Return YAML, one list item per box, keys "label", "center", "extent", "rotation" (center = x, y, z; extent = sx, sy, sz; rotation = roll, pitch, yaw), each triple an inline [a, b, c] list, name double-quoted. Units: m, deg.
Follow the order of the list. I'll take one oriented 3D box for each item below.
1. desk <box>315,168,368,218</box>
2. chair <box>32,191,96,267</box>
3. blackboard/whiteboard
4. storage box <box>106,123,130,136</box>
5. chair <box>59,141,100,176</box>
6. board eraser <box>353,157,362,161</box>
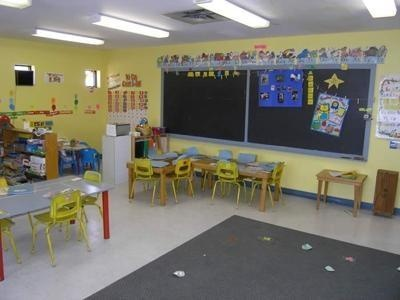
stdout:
- label: "desk"
  center: [2.773, 0.836, 6.384]
  extent: [1.092, 1.060, 0.814]
  rotation: [9, 14, 36]
- label: "chair"
  center: [-2.060, 1.196, 4.654]
  extent: [0.699, 1.050, 0.730]
  rotation: [13, 16, 30]
- label: "blackboard/whiteboard"
  center: [1.401, -0.981, 7.180]
  extent: [4.554, 1.829, 0.519]
  rotation: [8, 15, 24]
- label: "storage box"
  center: [-2.121, -0.512, 7.724]
  extent: [0.383, 0.244, 0.391]
  rotation: [4, 6, 36]
- label: "chair"
  center: [-3.296, 0.188, 8.419]
  extent: [0.996, 0.859, 1.090]
  rotation: [-5, 15, -24]
- label: "board eraser"
  center: [3.197, 0.177, 6.293]
  extent: [0.151, 0.084, 0.025]
  rotation: [6, 15, 20]
